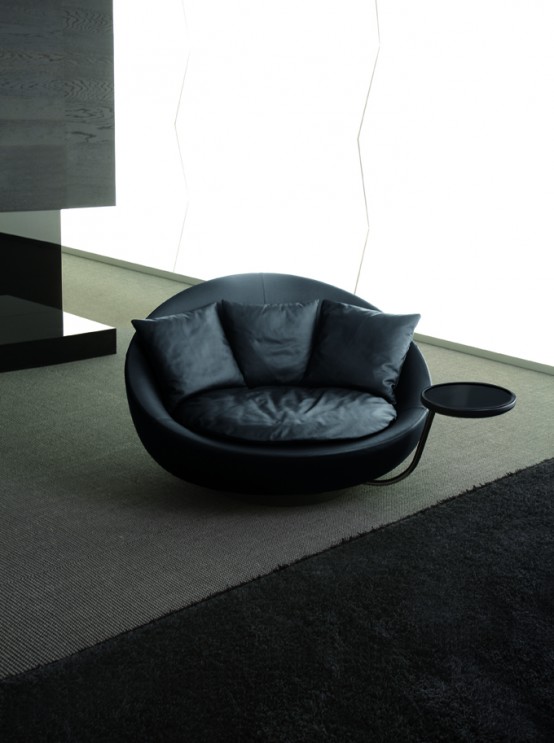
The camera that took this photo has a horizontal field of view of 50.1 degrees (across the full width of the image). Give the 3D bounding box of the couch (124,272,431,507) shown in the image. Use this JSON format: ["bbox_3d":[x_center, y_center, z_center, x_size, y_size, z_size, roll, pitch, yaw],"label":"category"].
[{"bbox_3d":[0.006,0.027,2.332,1.158,0.592,1.173,5,15,18],"label":"couch"}]
